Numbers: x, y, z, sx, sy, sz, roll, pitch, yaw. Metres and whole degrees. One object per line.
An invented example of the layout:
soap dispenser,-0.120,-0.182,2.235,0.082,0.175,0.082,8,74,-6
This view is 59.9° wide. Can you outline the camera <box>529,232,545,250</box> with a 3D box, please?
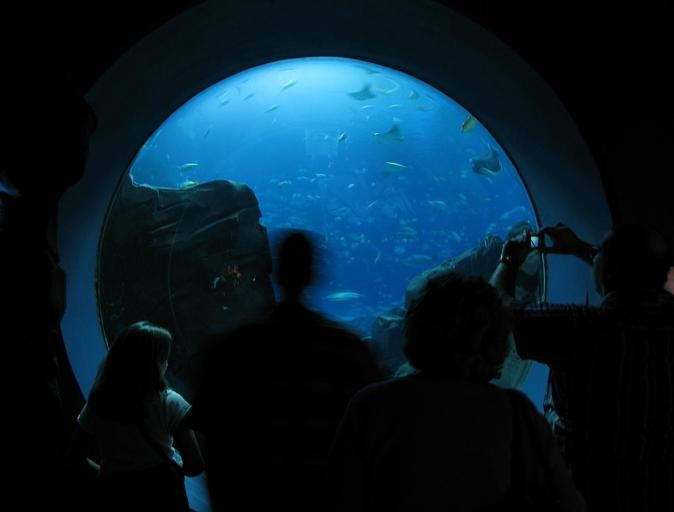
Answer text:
camera,1.678,-0.119,4.904,0.137,0.240,0.126,0,-5,22
